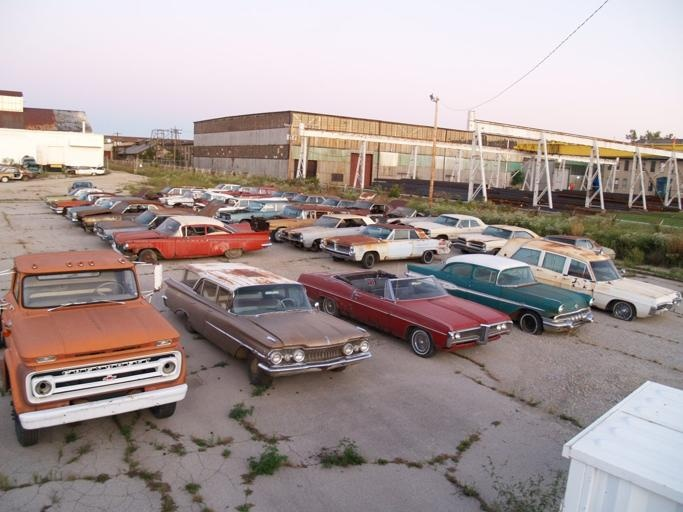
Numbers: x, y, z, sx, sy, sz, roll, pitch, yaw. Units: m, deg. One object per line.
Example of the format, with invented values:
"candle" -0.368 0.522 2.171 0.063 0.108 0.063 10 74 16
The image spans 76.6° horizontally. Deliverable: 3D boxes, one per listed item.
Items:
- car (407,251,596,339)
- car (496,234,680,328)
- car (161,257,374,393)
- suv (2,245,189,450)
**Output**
"car" 4.197 0.978 11.900 2.213 1.278 5.102 -9 17 -40
"car" 7.694 0.637 13.230 5.342 1.368 2.288 15 19 29
"car" -1.823 1.013 8.535 1.962 0.957 4.025 -6 15 -37
"suv" -3.614 1.307 6.164 2.008 2.318 2.108 -9 15 -35
